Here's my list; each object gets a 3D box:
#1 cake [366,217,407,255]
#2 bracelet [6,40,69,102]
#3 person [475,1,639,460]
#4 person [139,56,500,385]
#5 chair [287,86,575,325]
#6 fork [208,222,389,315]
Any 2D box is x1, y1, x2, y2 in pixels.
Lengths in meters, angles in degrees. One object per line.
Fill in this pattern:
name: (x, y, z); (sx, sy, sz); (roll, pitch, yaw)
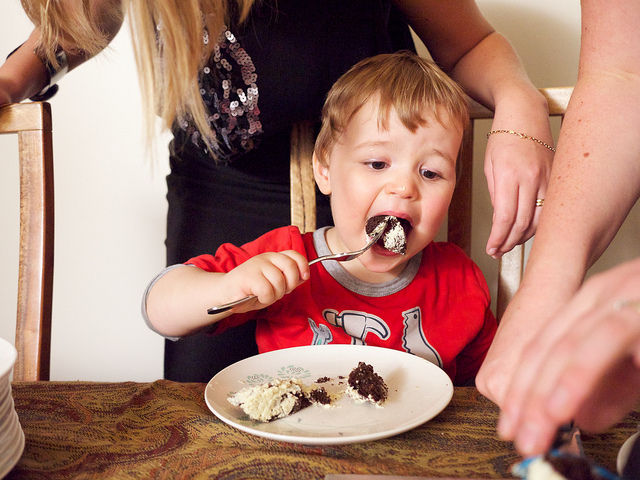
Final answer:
cake: (0.147, -0.016, 1.253); (0.061, 0.088, 0.018); (-26, 6, 17)
bracelet: (-0.711, -0.398, 1.439); (0.147, 0.183, 0.117); (-7, 13, -22)
person: (0.345, -0.070, 0.871); (0.225, 0.209, 0.777); (8, 52, 10)
person: (0.006, -0.055, 1.352); (0.677, 0.857, 0.453); (8, -10, 1)
chair: (0.232, -0.079, 1.262); (0.489, 0.671, 0.412); (8, 6, 7)
fork: (-0.035, 0.074, 1.291); (0.465, 0.073, 0.057); (-21, 16, -19)
